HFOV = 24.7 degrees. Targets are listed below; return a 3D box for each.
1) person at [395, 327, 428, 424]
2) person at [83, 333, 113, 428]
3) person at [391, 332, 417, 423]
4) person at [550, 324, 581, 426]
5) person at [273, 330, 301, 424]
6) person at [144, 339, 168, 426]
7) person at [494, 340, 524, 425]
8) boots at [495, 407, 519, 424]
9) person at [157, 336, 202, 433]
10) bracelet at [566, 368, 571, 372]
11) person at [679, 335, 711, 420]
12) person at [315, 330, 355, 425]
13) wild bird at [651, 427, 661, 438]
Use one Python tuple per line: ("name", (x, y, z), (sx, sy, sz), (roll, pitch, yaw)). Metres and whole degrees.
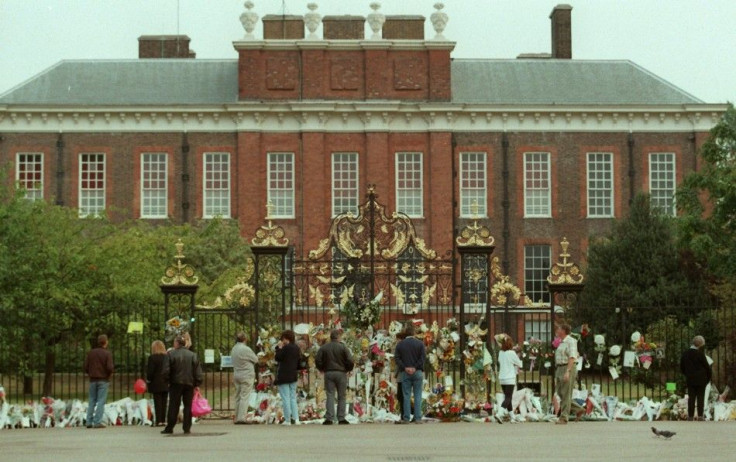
("person", (1.487, 5.120, 59.019), (1.328, 3.101, 0.990), (0, 1, 4))
("person", (-9.467, 5.257, 59.001), (0.944, 3.032, 1.096), (0, 1, 32))
("person", (1.265, 5.114, 59.054), (0.986, 2.669, 0.768), (0, 0, 5))
("person", (6.949, 5.051, 59.031), (0.728, 3.487, 1.159), (-2, -9, -7))
("person", (-2.810, 5.153, 58.828), (0.853, 3.239, 0.809), (-2, -9, -3))
("person", (-7.175, 5.333, 58.267), (0.784, 2.874, 0.975), (1, 1, 32))
("person", (4.942, 5.119, 59.747), (1.079, 2.554, 0.782), (0, 1, 3))
("boots", (5.026, 6.582, 59.401), (1.185, 0.470, 0.361), (-1, -1, -14))
("person", (-6.349, 5.241, 57.500), (1.239, 3.460, 0.758), (-2, -9, -7))
("bracelet", (6.983, 4.868, 58.642), (0.120, 0.141, 0.049), (5, -3, -19))
("person", (11.558, 5.255, 59.544), (1.172, 2.894, 0.971), (0, -1, 7))
("person", (-1.143, 5.165, 59.129), (1.459, 3.211, 1.110), (0, 2, 2))
("wild bird", (9.618, 6.790, 56.294), (0.210, 0.165, 0.521), (-23, -49, 31))
